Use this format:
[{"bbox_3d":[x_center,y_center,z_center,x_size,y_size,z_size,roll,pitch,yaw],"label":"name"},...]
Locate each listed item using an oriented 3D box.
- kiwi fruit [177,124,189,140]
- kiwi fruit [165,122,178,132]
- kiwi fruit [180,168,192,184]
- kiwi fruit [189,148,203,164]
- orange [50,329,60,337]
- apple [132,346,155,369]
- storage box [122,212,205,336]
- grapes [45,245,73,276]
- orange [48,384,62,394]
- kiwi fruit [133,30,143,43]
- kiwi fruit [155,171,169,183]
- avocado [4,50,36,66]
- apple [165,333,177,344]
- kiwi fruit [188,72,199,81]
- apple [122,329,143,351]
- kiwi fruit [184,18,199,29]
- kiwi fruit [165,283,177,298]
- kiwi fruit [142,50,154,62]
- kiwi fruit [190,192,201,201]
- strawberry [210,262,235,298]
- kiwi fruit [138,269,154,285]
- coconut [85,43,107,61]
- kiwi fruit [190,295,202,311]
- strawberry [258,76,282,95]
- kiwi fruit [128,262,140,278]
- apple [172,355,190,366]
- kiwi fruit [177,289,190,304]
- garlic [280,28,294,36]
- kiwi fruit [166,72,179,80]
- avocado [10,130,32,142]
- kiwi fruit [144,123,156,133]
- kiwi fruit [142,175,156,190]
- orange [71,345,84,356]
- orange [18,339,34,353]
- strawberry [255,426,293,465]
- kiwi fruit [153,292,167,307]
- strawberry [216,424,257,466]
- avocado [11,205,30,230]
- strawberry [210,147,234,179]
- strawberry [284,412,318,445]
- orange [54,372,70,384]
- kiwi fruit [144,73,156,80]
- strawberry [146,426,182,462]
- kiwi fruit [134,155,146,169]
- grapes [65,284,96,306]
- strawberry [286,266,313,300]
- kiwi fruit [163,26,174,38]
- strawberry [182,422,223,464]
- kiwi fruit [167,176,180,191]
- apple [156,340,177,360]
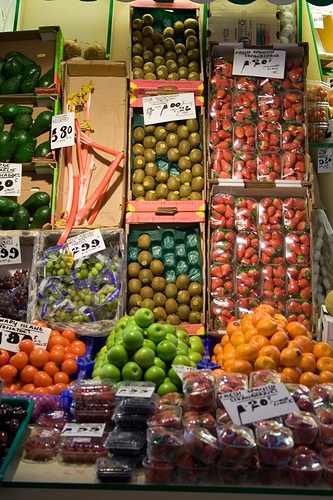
[{"bbox_3d":[0.143,-0.956,2.894,0.081,0.108,0.059,-3,-17,-2],"label":"kiwi fruit"},{"bbox_3d":[0.040,-1.011,2.910,0.065,0.064,0.082,0,8,4],"label":"kiwi fruit"},{"bbox_3d":[0.155,-0.584,2.764,0.081,0.106,0.081,0,6,-4],"label":"kiwi fruit"},{"bbox_3d":[0.243,-0.752,2.888,0.104,0.122,0.104,0,-6,19],"label":"kiwi fruit"},{"bbox_3d":[-0.619,0.453,1.968,0.037,0.042,0.037,-8,45,-19],"label":"orange"},{"bbox_3d":[-0.084,0.377,1.286,0.071,0.079,0.068,1,-1,-16],"label":"apple"},{"bbox_3d":[0.012,0.187,2.599,0.537,0.774,0.236,-2,-22,-1],"label":"storage box"},{"bbox_3d":[-0.689,0.068,2.278,0.190,0.167,0.160,-5,15,-13],"label":"grapes"},{"bbox_3d":[-0.489,0.602,1.552,0.052,0.042,0.043,0,-10,-4],"label":"orange"},{"bbox_3d":[-0.260,-1.884,3.145,0.090,0.089,0.049,-2,7,0],"label":"kiwi fruit"},{"bbox_3d":[-0.031,-0.580,2.834,0.079,0.094,0.054,4,-10,-1],"label":"kiwi fruit"},{"bbox_3d":[-1.283,-1.683,3.144,0.270,0.116,0.130,17,25,-10],"label":"avocado"},{"bbox_3d":[0.018,0.348,1.442,0.040,0.047,0.039,-6,-12,-39],"label":"apple"},{"bbox_3d":[0.228,-1.479,3.020,0.087,0.071,0.064,0,15,5],"label":"kiwi fruit"},{"bbox_3d":[-0.119,0.317,1.276,0.069,0.079,0.070,4,-2,1],"label":"apple"},{"bbox_3d":[0.222,-2.003,3.155,0.107,0.085,0.085,8,-23,16],"label":"kiwi fruit"},{"bbox_3d":[0.033,0.281,2.520,0.084,0.102,0.086,4,5,45],"label":"kiwi fruit"},{"bbox_3d":[-0.163,-1.679,3.082,0.090,0.089,0.049,0,9,5],"label":"kiwi fruit"},{"bbox_3d":[0.221,-0.410,2.686,0.069,0.054,0.051,5,-35,-11],"label":"kiwi fruit"},{"bbox_3d":[0.393,0.203,2.439,0.167,0.225,0.076,3,-11,-5],"label":"strawberry"},{"bbox_3d":[-0.146,0.181,2.514,0.097,0.114,0.097,-1,-3,-4],"label":"kiwi fruit"},{"bbox_3d":[-0.628,-1.793,3.284,0.188,0.206,0.216,-5,33,-7],"label":"coconut"},{"bbox_3d":[0.209,0.364,2.442,0.073,0.087,0.051,-2,-10,15],"label":"kiwi fruit"},{"bbox_3d":[0.857,-1.350,2.933,0.150,0.158,0.050,2,3,1],"label":"strawberry"},{"bbox_3d":[-0.232,0.136,2.539,0.089,0.107,0.089,0,3,12],"label":"kiwi fruit"},{"bbox_3d":[0.058,0.424,1.373,0.046,0.045,0.054,8,48,-9],"label":"apple"},{"bbox_3d":[0.120,0.317,2.509,0.067,0.066,0.088,5,31,-5],"label":"kiwi fruit"},{"bbox_3d":[1.136,-2.054,3.349,0.100,0.065,0.058,-1,1,27],"label":"garlic"},{"bbox_3d":[0.060,-1.482,3.029,0.093,0.078,0.087,-1,15,0],"label":"kiwi fruit"},{"bbox_3d":[-1.156,-0.914,2.827,0.111,0.076,0.138,23,19,1],"label":"avocado"},{"bbox_3d":[-0.137,-1.007,2.942,0.065,0.063,0.079,2,22,43],"label":"kiwi fruit"},{"bbox_3d":[-0.133,-0.523,2.767,0.088,0.110,0.100,4,1,40],"label":"kiwi fruit"},{"bbox_3d":[-0.472,0.537,1.906,0.063,0.040,0.081,-5,15,-13],"label":"orange"},{"bbox_3d":[-0.675,0.461,1.721,0.057,0.057,0.067,-14,41,8],"label":"orange"},{"bbox_3d":[0.289,0.499,0.927,0.078,0.054,0.103,-1,-6,5],"label":"strawberry"},{"bbox_3d":[-0.045,0.332,2.439,0.069,0.090,0.068,-2,-19,-6],"label":"kiwi fruit"},{"bbox_3d":[0.187,0.499,0.931,0.074,0.055,0.113,1,-13,3],"label":"strawberry"},{"bbox_3d":[-1.046,-0.236,2.555,0.105,0.169,0.100,1,3,-27],"label":"avocado"},{"bbox_3d":[0.427,-0.675,2.694,0.154,0.227,0.075,1,-10,4],"label":"strawberry"},{"bbox_3d":[0.386,0.500,1.013,0.074,0.068,0.095,1,-25,0],"label":"strawberry"},{"bbox_3d":[-0.489,0.590,1.656,0.054,0.062,0.054,-7,-7,9],"label":"orange"},{"bbox_3d":[-0.139,-1.471,3.014,0.100,0.059,0.062,-2,15,-3],"label":"kiwi fruit"},{"bbox_3d":[-0.003,0.519,0.966,0.099,0.066,0.088,-2,15,-1],"label":"strawberry"},{"bbox_3d":[-0.215,-0.707,2.848,0.090,0.090,0.049,-2,-2,21],"label":"kiwi fruit"},{"bbox_3d":[-0.530,0.272,2.191,0.131,0.132,0.047,26,-27,-3],"label":"grapes"},{"bbox_3d":[0.944,0.228,2.528,0.172,0.209,0.135,3,15,18],"label":"strawberry"},{"bbox_3d":[0.018,-1.912,3.130,0.077,0.054,0.097,-1,-4,-2],"label":"kiwi fruit"},{"bbox_3d":[0.100,0.497,0.932,0.068,0.047,0.088,32,-13,-2],"label":"strawberry"},{"bbox_3d":[0.054,-0.514,2.750,0.098,0.115,0.099,-1,-3,26],"label":"kiwi fruit"},{"bbox_3d":[-0.004,0.380,1.401,0.069,0.083,0.068,-2,-4,-43],"label":"apple"}]
